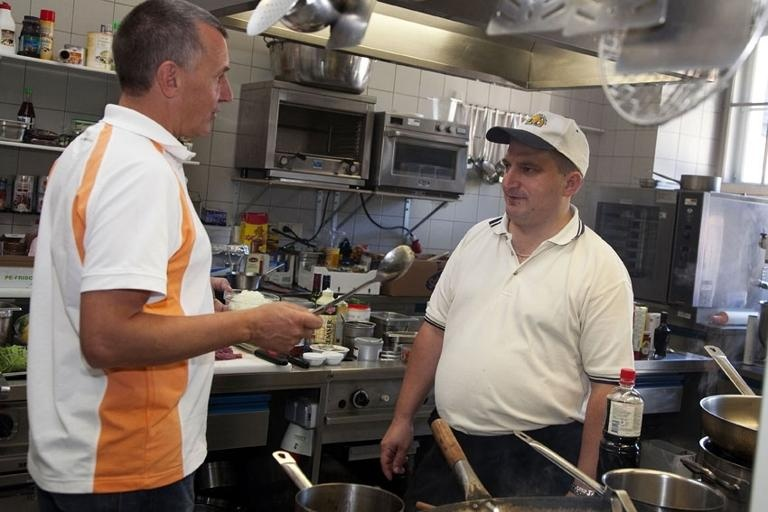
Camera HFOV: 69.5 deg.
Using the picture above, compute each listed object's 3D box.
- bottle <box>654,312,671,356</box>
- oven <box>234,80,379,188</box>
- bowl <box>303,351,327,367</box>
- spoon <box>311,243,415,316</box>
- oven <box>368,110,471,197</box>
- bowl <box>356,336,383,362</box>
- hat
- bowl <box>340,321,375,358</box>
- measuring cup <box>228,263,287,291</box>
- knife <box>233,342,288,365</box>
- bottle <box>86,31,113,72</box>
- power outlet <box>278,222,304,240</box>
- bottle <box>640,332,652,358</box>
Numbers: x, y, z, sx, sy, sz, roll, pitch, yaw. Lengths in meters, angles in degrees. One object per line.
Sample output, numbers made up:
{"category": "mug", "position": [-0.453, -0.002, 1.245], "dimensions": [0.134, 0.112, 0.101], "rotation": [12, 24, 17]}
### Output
{"category": "bottle", "position": [1.599, 0.448, 3.210], "dimensions": [0.073, 0.205, 0.203], "rotation": [5, 3, 29]}
{"category": "oven", "position": [-0.577, -0.885, 4.099], "dimensions": [0.900, 0.610, 0.656], "rotation": [1, 8, -31]}
{"category": "bowl", "position": [-0.311, 0.451, 2.446], "dimensions": [0.071, 0.031, 0.071], "rotation": [3, -2, 0]}
{"category": "spoon", "position": [-0.087, 0.118, 2.440], "dimensions": [0.075, 0.124, 0.556], "rotation": [27, -43, -32]}
{"category": "oven", "position": [0.231, -0.793, 4.439], "dimensions": [0.812, 0.555, 0.562], "rotation": [2, 7, -31]}
{"category": "bowl", "position": [-0.066, 0.436, 2.600], "dimensions": [0.114, 0.079, 0.111], "rotation": [3, -1, 0]}
{"category": "hat", "position": [0.571, -0.424, 1.944], "dimensions": [0.344, 0.165, 0.257], "rotation": [19, 8, -25]}
{"category": "bowl", "position": [-0.135, 0.400, 2.662], "dimensions": [0.158, 0.154, 0.154], "rotation": [1, -1, 0]}
{"category": "measuring cup", "position": [-0.688, 0.128, 2.976], "dimensions": [0.091, 0.098, 0.224], "rotation": [1, 0, 44]}
{"category": "knife", "position": [-0.534, 0.430, 2.472], "dimensions": [0.088, 0.028, 0.387], "rotation": [-8, 14, -37]}
{"category": "bottle", "position": [-1.713, -1.239, 3.334], "dimensions": [0.184, 0.195, 0.182], "rotation": [2, 16, -23]}
{"category": "power outlet", "position": [-0.704, -0.184, 4.237], "dimensions": [0.207, 0.108, 0.131], "rotation": [7, 10, -20]}
{"category": "bottle", "position": [1.474, 0.497, 3.113], "dimensions": [0.040, 0.109, 0.186], "rotation": [5, 4, 33]}
